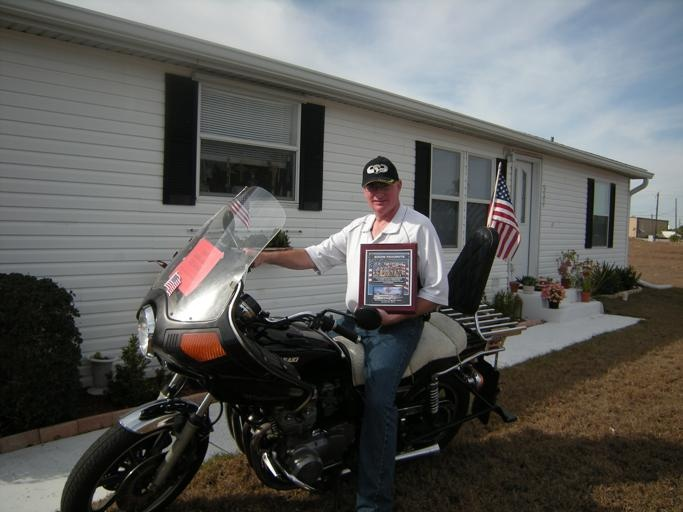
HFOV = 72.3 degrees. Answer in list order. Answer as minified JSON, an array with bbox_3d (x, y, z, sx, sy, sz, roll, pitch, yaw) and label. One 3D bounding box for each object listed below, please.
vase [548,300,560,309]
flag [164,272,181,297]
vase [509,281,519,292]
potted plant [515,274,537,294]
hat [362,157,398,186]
[{"bbox_3d":[3.978,0.896,8.725,0.139,0.117,0.156,1,-3,0],"label":"vase"},{"bbox_3d":[-1.106,0.194,3.156,0.105,0.141,0.038,40,-5,36],"label":"flag"},{"bbox_3d":[3.377,0.613,9.241,0.184,0.202,0.181,0,-1,-30],"label":"vase"},{"bbox_3d":[3.685,0.555,9.269,0.326,0.310,0.331,2,-3,-21],"label":"potted plant"},{"bbox_3d":[0.287,-0.648,3.655,0.187,0.163,0.273,-2,5,17],"label":"hat"}]
